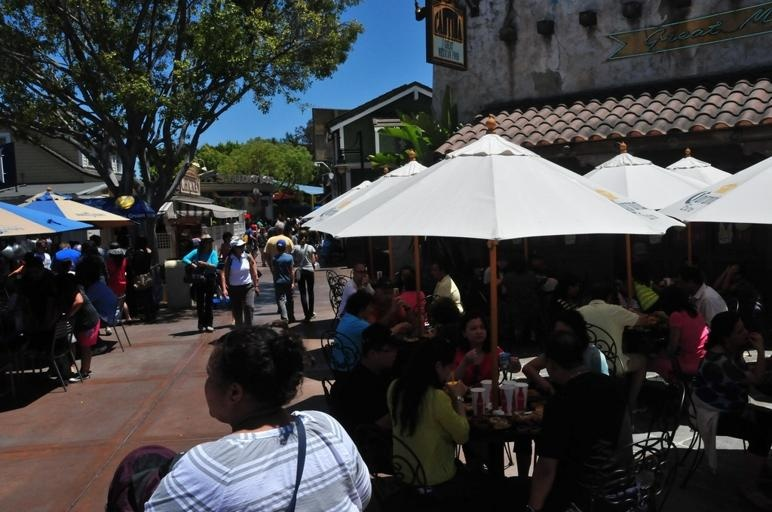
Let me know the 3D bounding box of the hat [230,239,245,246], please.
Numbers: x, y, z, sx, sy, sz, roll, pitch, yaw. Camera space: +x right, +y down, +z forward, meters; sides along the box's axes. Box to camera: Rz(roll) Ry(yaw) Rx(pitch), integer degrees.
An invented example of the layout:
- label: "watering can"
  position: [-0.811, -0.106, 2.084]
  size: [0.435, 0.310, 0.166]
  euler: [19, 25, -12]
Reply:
- label: "hat"
  position: [-3.275, -0.285, 13.725]
  size: [0.248, 0.171, 0.287]
  euler: [-2, 0, -41]

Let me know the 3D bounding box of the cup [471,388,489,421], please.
- label: "cup"
  position: [1.103, 1.702, 7.334]
  size: [0.217, 0.314, 0.276]
  euler: [-2, 0, 6]

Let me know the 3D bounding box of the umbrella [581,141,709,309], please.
- label: "umbrella"
  position: [4.797, -0.727, 12.086]
  size: [2.447, 2.547, 2.737]
  euler: [-9, 14, -20]

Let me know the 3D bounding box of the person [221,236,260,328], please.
- label: "person"
  position: [-3.305, 0.595, 14.083]
  size: [0.741, 2.020, 1.204]
  euler: [-2, 0, -15]

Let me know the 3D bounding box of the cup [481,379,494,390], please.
- label: "cup"
  position: [1.223, 1.568, 7.670]
  size: [0.109, 0.085, 0.113]
  euler: [-3, -3, 0]

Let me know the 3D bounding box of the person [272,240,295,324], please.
- label: "person"
  position: [-2.585, 0.661, 15.542]
  size: [0.549, 2.073, 0.775]
  euler: [-2, 0, -10]

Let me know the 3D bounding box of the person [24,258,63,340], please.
- label: "person"
  position: [-6.223, 0.743, 11.268]
  size: [0.693, 1.662, 0.260]
  euler: [-2, 0, -2]

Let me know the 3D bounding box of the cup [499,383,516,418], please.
- label: "cup"
  position: [1.424, 1.671, 7.321]
  size: [0.263, 0.393, 0.274]
  euler: [-2, -3, 0]

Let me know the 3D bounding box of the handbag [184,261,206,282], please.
- label: "handbag"
  position: [-4.697, 0.408, 15.217]
  size: [0.523, 0.558, 0.393]
  euler: [0, 3, -1]
